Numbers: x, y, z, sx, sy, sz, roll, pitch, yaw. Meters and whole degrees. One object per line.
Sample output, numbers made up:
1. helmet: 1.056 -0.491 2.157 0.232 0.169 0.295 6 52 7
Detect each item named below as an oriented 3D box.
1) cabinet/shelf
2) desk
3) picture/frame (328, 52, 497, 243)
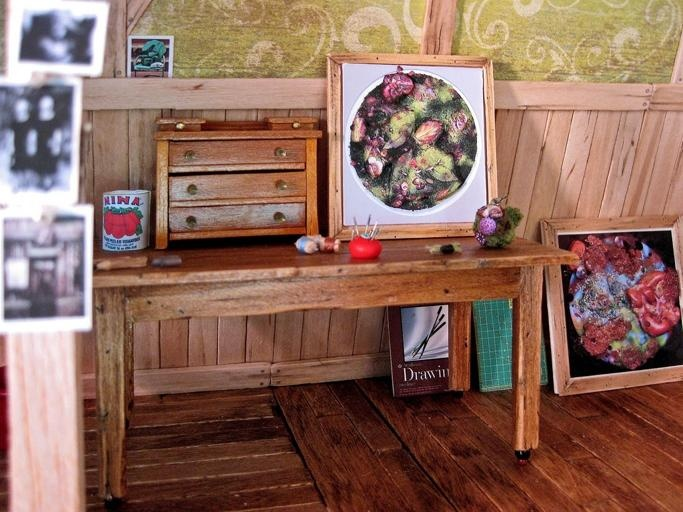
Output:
1. cabinet/shelf: -0.417 -0.282 2.542 0.957 0.722 0.524 -2 7 -16
2. desk: -0.046 0.400 2.329 1.837 0.952 0.615 -4 18 -14
3. picture/frame: 0.290 -0.486 2.538 0.958 0.929 0.044 -1 3 -17
